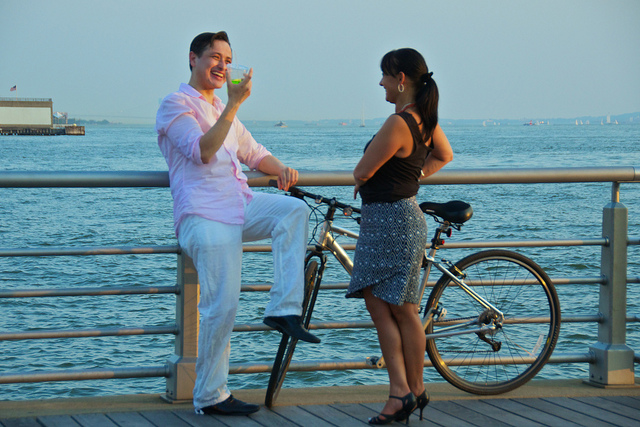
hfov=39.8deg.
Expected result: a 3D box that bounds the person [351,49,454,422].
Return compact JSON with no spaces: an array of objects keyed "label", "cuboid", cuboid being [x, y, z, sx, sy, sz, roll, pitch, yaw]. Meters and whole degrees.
[{"label":"person","cuboid":[0.612,0.184,7.406,0.683,3.098,0.253,0,3,0]}]

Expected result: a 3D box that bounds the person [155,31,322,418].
[{"label":"person","cuboid":[-0.741,0.079,7.496,1.262,3.226,0.603,0,3,-3]}]

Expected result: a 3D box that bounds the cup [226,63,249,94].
[{"label":"cup","cuboid":[-0.711,-1.123,7.355,0.255,0.258,0.154,3,5,44]}]
